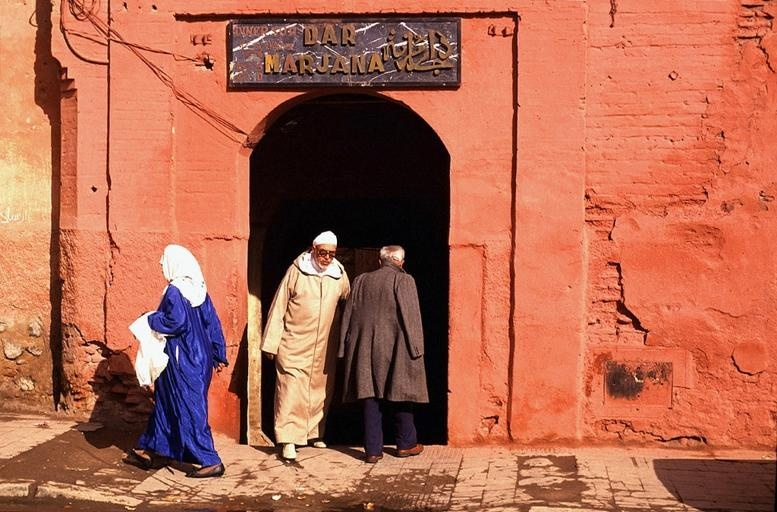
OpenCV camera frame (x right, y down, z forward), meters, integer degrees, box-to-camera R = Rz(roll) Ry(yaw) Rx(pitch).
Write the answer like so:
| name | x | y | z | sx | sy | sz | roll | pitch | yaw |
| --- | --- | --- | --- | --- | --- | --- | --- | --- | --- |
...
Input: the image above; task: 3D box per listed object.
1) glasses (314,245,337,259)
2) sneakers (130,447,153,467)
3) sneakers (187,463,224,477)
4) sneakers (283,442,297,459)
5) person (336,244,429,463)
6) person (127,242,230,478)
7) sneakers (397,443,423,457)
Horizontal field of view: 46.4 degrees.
| name | x | y | z | sx | sy | sz | roll | pitch | yaw |
| --- | --- | --- | --- | --- | --- | --- | --- | --- | --- |
| glasses | -0.618 | -0.029 | 9.075 | 0.204 | 0.130 | 0.120 | 4 | -7 | -25 |
| sneakers | -2.335 | 1.892 | 8.510 | 0.218 | 0.137 | 0.060 | 31 | 32 | 15 |
| sneakers | -1.667 | 1.996 | 8.459 | 0.389 | 0.157 | 0.128 | 4 | -2 | -2 |
| sneakers | -0.973 | 1.916 | 8.931 | 0.151 | 0.156 | 0.277 | 2 | -6 | -6 |
| person | -0.051 | 0.944 | 8.905 | 0.871 | 2.119 | 0.417 | 1 | -6 | -2 |
| person | -1.943 | 0.978 | 8.446 | 0.894 | 2.135 | 0.540 | 2 | -6 | -10 |
| sneakers | 0.222 | 1.898 | 8.903 | 0.243 | 0.109 | 0.102 | -9 | 11 | -33 |
